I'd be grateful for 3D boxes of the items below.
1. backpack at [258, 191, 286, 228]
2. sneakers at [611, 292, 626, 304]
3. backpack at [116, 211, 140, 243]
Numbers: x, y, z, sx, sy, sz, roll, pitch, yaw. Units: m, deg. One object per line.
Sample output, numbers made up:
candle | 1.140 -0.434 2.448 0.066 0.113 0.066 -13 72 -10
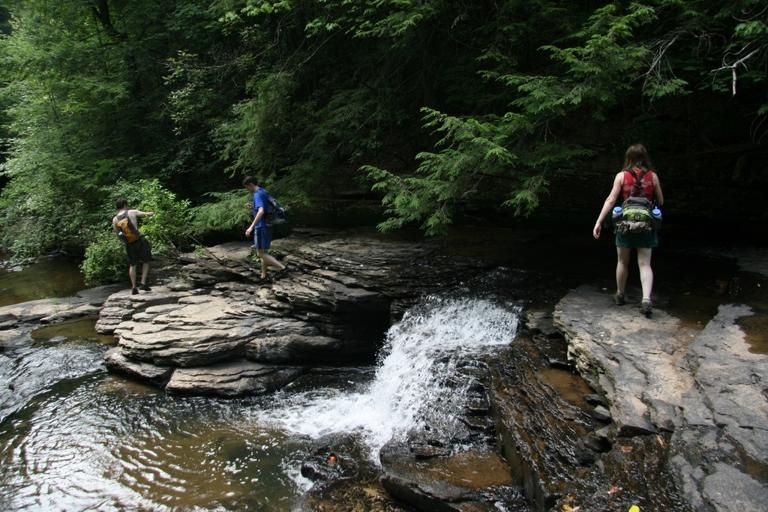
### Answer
backpack | -2.511 -1.075 12.937 0.252 0.823 0.561 4 20 27
sneakers | 4.266 0.768 10.339 0.284 0.217 0.628 -2 -3 23
backpack | -6.269 -0.689 13.794 0.452 0.770 0.149 -11 20 -17
